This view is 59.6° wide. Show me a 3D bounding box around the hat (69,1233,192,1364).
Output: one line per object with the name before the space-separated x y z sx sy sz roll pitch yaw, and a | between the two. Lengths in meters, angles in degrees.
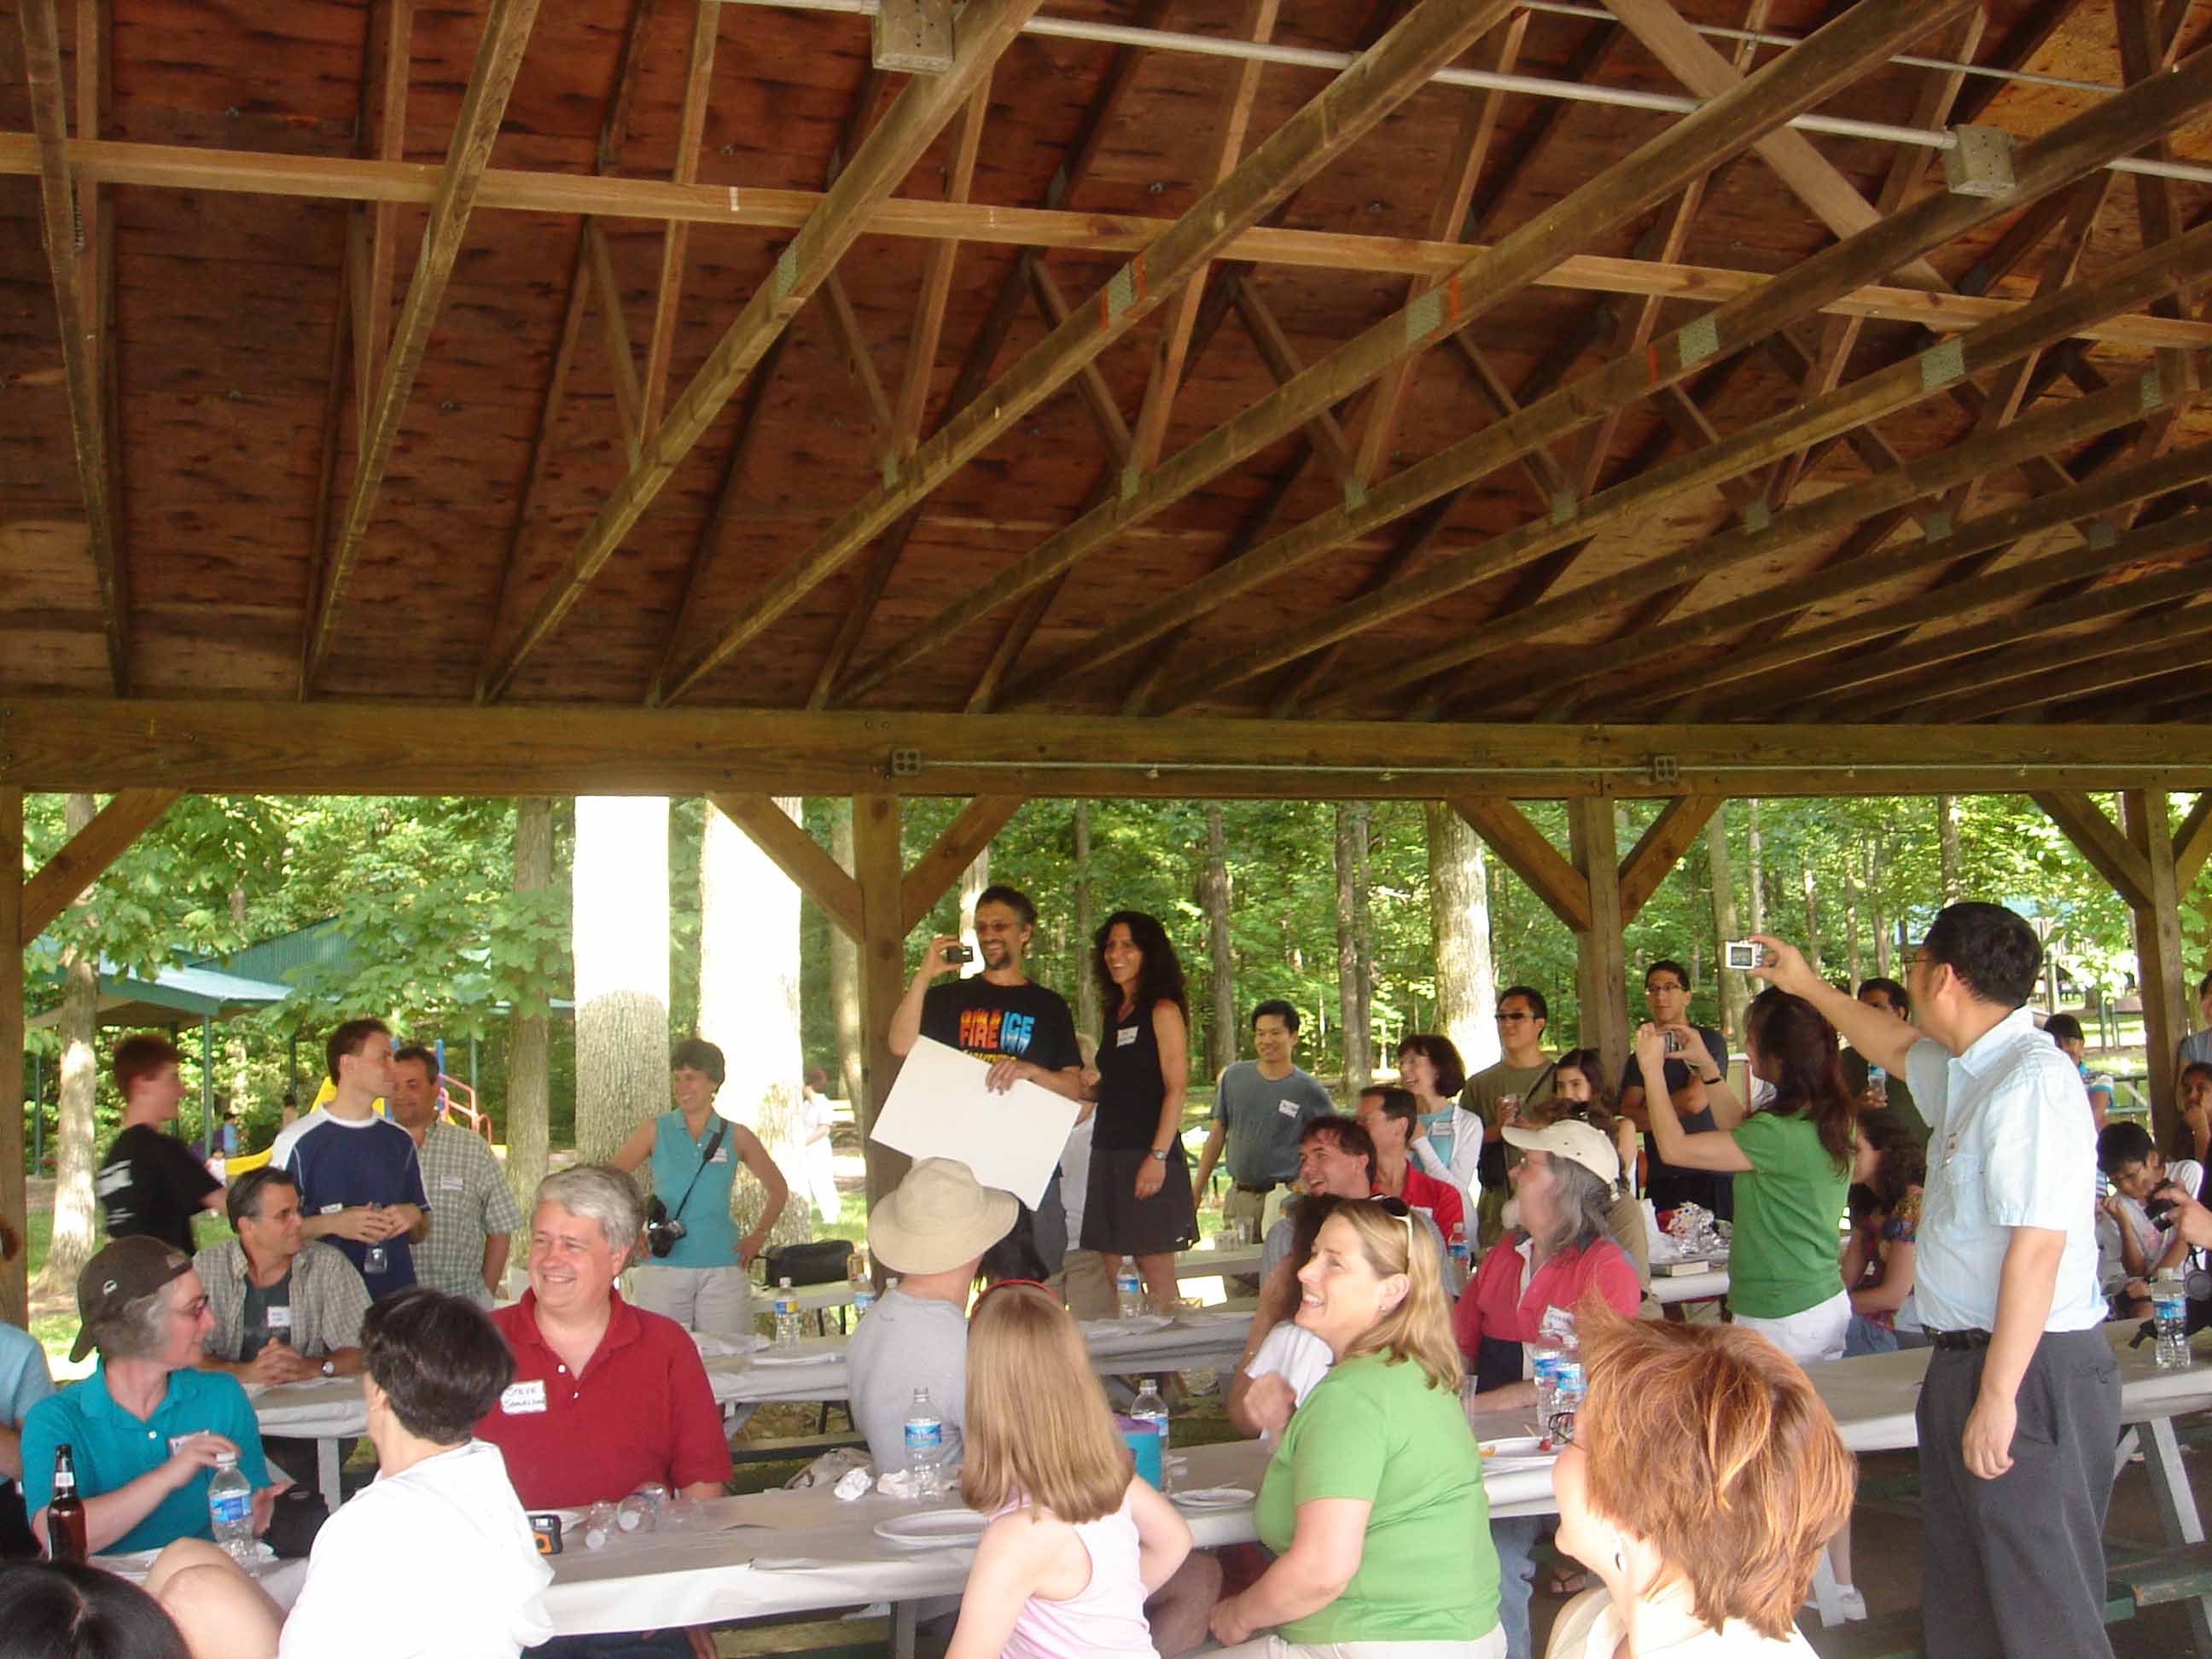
hat | -2.343 1.100 4.569 0.405 0.265 0.211 -15 -16 40

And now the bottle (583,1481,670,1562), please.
bottle | -1.103 1.575 4.405 0.184 0.096 0.408 -3 -12 -3

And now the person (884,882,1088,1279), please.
person | -0.448 1.137 7.269 0.859 1.685 0.583 3 6 5

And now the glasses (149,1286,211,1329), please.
glasses | -2.192 1.147 4.565 0.105 0.125 0.112 5 4 6

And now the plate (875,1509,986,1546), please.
plate | -0.384 1.564 4.308 0.213 0.058 0.236 -11 -14 32

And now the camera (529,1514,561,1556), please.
camera | -1.227 1.538 4.208 0.069 0.088 0.150 -1 -13 -17
